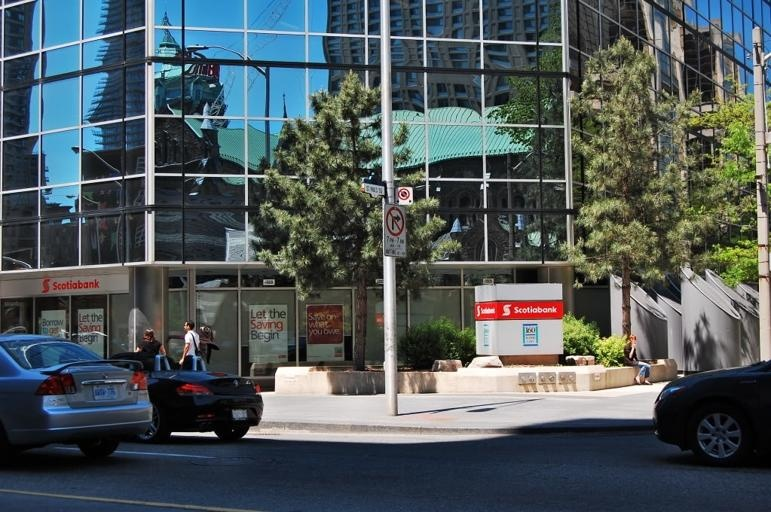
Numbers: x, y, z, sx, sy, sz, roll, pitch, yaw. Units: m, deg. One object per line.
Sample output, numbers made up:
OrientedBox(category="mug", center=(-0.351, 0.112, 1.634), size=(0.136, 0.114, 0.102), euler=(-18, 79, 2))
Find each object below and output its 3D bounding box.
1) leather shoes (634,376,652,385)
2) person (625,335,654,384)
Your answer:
OrientedBox(category="leather shoes", center=(8.864, 4.233, 37.660), size=(0.615, 0.284, 0.215), euler=(-2, -4, 5))
OrientedBox(category="person", center=(8.682, 3.527, 37.703), size=(0.936, 1.775, 0.786), euler=(0, 7, 3))
